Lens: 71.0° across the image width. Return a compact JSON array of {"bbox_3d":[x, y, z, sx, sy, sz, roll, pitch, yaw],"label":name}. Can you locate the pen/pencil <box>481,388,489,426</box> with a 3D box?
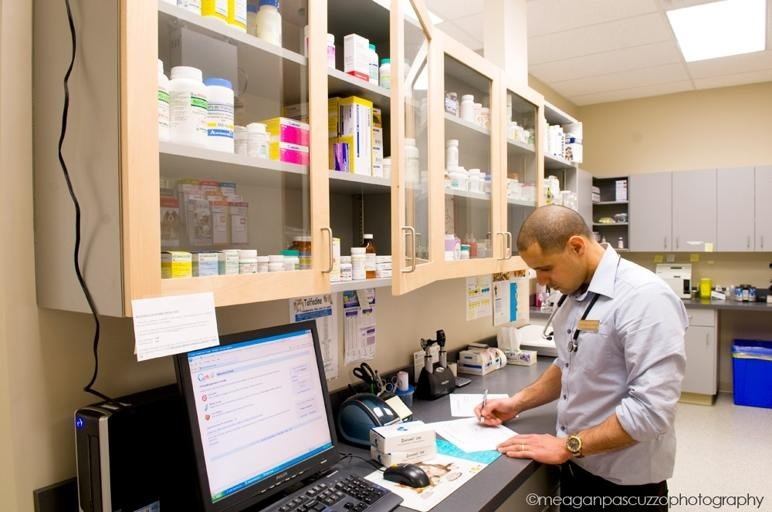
[{"bbox_3d":[0.455,0.702,2.515,0.016,0.144,0.022,6,-7,43],"label":"pen/pencil"}]

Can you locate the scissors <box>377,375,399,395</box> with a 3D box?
[{"bbox_3d":[0.002,0.615,2.588,0.093,0.098,0.030,6,-9,0],"label":"scissors"}]

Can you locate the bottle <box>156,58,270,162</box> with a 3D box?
[{"bbox_3d":[-0.558,-0.444,1.714,0.174,0.258,0.305,-4,-8,32],"label":"bottle"}]

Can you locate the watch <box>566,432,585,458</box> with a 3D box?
[{"bbox_3d":[0.746,0.747,2.143,0.058,0.089,0.085,-8,-16,37],"label":"watch"}]

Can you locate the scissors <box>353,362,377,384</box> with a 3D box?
[{"bbox_3d":[-0.106,0.540,2.534,0.106,0.084,0.217,-4,1,-10],"label":"scissors"}]

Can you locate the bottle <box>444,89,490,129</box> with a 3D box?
[{"bbox_3d":[0.387,-0.732,2.808,0.247,0.232,0.135,1,-4,-28],"label":"bottle"}]
